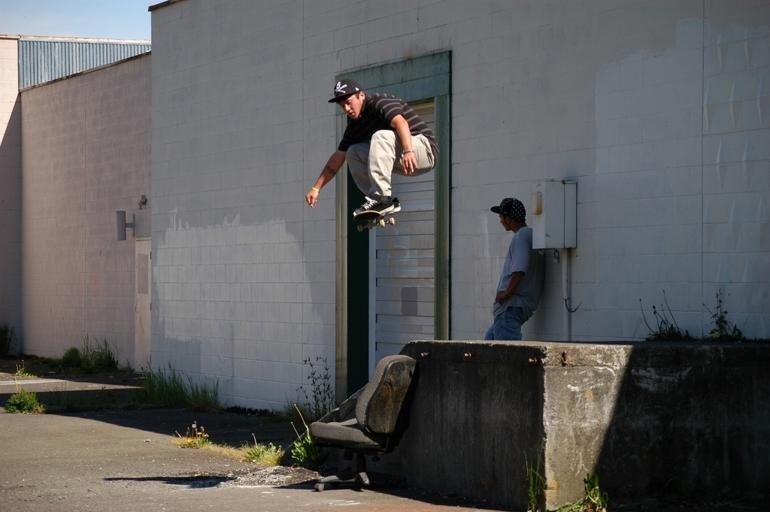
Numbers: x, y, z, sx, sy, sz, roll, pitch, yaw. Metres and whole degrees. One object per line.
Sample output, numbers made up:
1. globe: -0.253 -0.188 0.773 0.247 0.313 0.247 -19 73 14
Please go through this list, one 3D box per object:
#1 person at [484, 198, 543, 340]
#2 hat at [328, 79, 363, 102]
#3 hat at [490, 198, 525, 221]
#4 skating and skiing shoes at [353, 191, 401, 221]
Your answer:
1. person: 1.738 0.156 12.458 0.712 1.883 0.499 -1 -6 8
2. hat: -0.442 -1.937 10.956 0.371 0.223 0.272 -18 5 -39
3. hat: 1.654 -0.632 12.583 0.392 0.262 0.267 7 10 31
4. skating and skiing shoes: -0.061 -0.626 10.952 0.600 0.306 0.241 1 -24 -28
